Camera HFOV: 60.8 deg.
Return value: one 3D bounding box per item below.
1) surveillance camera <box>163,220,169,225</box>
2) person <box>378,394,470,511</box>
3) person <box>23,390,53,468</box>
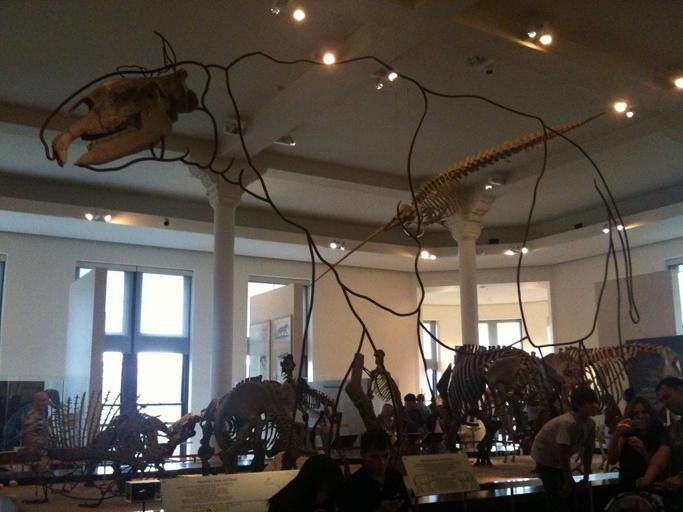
[{"bbox_3d":[-3.567,-0.664,11.900,0.108,0.119,0.050,3,-16,-20],"label":"surveillance camera"},{"bbox_3d":[0.718,1.653,4.955,0.751,0.842,0.439,2,-13,-15],"label":"person"},{"bbox_3d":[-4.264,2.424,8.180,0.337,1.069,1.555,6,-18,-28],"label":"person"}]
